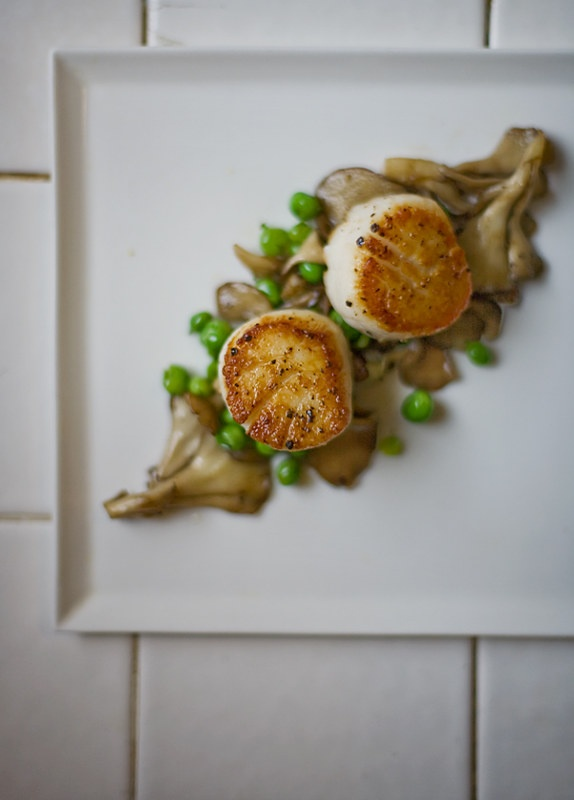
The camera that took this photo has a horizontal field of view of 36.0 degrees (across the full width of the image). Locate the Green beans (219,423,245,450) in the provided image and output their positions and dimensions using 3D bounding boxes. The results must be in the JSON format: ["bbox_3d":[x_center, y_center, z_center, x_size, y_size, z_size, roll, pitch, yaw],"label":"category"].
[{"bbox_3d":[-0.087,0.057,1.366,0.045,0.042,0.026,5,0,-4],"label":"Green beans"}]

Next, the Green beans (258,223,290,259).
[{"bbox_3d":[-0.021,-0.247,1.365,0.044,0.048,0.033,-6,7,1],"label":"Green beans"}]

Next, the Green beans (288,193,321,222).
[{"bbox_3d":[0.028,-0.299,1.365,0.041,0.034,0.050,-2,28,-4],"label":"Green beans"}]

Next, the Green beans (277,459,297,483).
[{"bbox_3d":[-0.004,0.109,1.413,0.033,0.036,0.029,17,-22,0],"label":"Green beans"}]

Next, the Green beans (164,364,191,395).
[{"bbox_3d":[-0.175,-0.030,1.388,0.052,0.042,0.026,-1,1,-18],"label":"Green beans"}]

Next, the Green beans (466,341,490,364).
[{"bbox_3d":[0.300,-0.072,1.389,0.034,0.029,0.040,-4,38,-5],"label":"Green beans"}]

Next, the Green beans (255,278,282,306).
[{"bbox_3d":[-0.024,-0.169,1.382,0.041,0.041,0.029,-11,9,14],"label":"Green beans"}]

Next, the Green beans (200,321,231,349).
[{"bbox_3d":[-0.111,-0.102,1.372,0.044,0.044,0.025,12,7,10],"label":"Green beans"}]
